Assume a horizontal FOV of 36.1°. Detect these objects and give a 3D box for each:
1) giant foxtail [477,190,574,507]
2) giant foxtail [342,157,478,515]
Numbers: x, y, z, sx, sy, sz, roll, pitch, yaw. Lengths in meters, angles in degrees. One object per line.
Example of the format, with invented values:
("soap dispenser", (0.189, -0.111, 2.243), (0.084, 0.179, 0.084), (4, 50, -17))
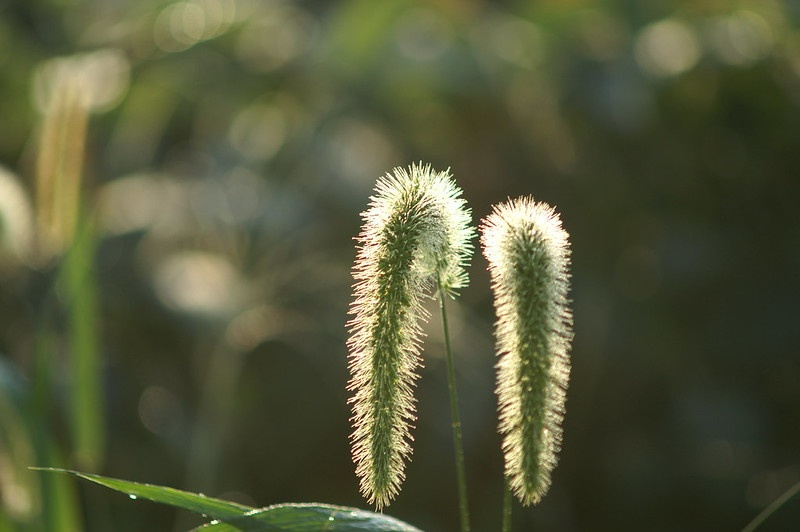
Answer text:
("giant foxtail", (0.180, 0.114, 1.713), (0.122, 0.344, 0.326), (-3, 37, 4))
("giant foxtail", (0.004, 0.086, 1.765), (0.170, 0.517, 0.192), (-4, -11, 42))
